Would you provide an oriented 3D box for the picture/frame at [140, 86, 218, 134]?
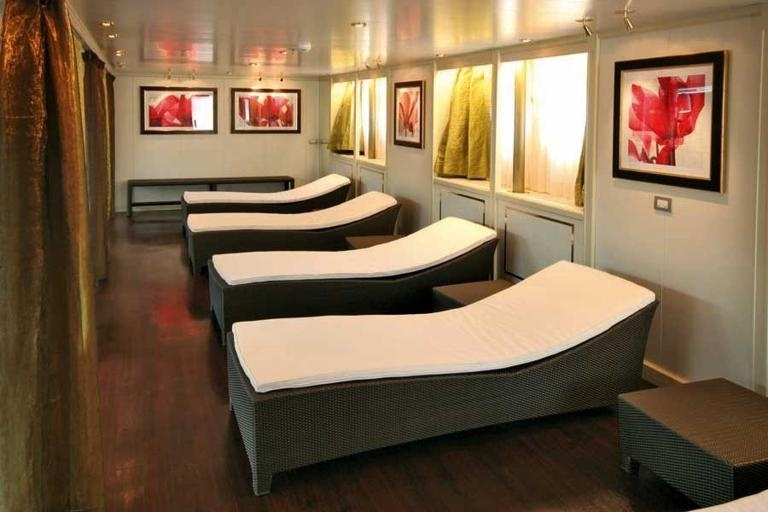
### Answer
[{"bbox_3d":[-3.919,-2.764,10.536,0.951,0.671,0.038,-2,11,-20],"label":"picture/frame"}]

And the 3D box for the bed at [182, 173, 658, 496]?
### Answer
[{"bbox_3d":[0.133,0.465,4.626,2.819,0.821,2.735,-6,15,-17],"label":"bed"}]

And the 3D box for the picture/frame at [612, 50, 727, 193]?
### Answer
[{"bbox_3d":[2.081,-0.977,4.036,0.073,1.088,1.046,-5,8,-26],"label":"picture/frame"}]

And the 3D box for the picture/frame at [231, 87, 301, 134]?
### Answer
[{"bbox_3d":[-2.335,-2.874,11.137,1.418,0.922,0.055,0,0,-2],"label":"picture/frame"}]

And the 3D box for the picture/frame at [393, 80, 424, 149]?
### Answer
[{"bbox_3d":[0.337,-1.849,7.282,0.066,0.962,0.916,-3,8,-24],"label":"picture/frame"}]
